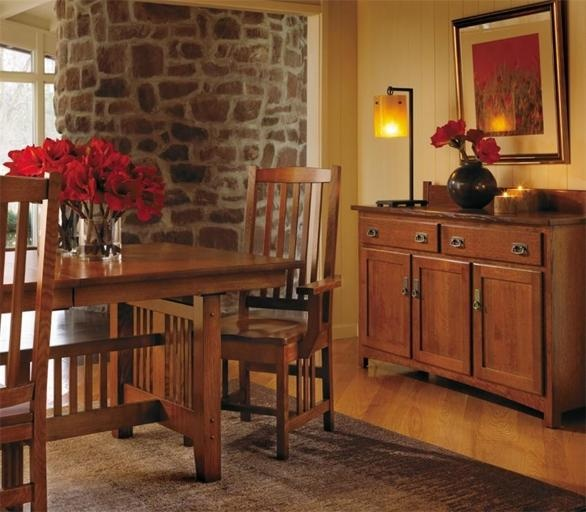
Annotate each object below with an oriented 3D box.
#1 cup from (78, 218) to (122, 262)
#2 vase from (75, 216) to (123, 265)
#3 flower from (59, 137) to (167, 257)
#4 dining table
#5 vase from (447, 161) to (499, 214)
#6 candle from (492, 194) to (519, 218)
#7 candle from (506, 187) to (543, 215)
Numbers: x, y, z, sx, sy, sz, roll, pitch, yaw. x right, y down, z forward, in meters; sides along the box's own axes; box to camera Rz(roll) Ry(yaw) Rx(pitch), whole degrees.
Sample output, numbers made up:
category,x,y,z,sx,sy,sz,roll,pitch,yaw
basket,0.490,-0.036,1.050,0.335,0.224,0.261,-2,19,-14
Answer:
category,x,y,z,sx,sy,sz,roll,pitch,yaw
cup,-0.695,-0.056,1.930,0.139,0.163,0.149,1,-2,0
vase,-0.694,-0.064,2.003,0.143,0.168,0.153,0,-2,30
flower,-0.680,-0.228,2.000,0.379,0.415,0.408,6,7,26
dining table,-0.490,0.299,1.905,0.830,0.702,0.929,-3,6,-35
vase,0.979,-0.364,3.008,0.270,0.309,0.273,1,2,15
candle,1.123,-0.259,2.884,0.129,0.098,0.129,-3,3,-39
candle,1.278,-0.308,2.966,0.153,0.113,0.154,0,1,-29
